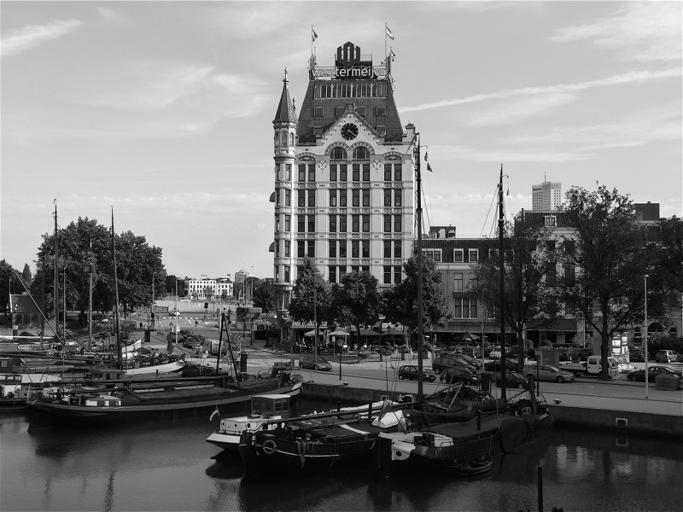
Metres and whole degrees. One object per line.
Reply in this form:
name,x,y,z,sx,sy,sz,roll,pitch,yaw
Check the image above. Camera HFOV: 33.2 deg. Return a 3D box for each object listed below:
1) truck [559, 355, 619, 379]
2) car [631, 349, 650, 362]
truck,22.150,10.151,102.621,4.403,1.990,2.228,-2,-2,9
car,29.986,10.150,116.895,2.131,1.173,3.126,2,5,14
